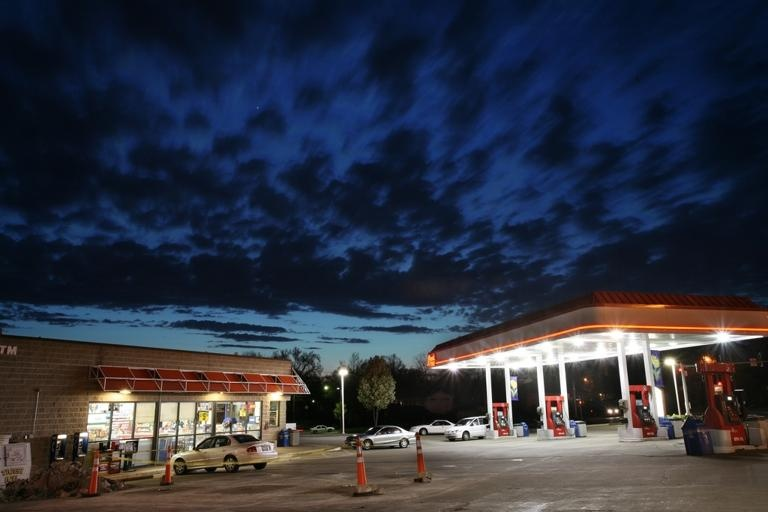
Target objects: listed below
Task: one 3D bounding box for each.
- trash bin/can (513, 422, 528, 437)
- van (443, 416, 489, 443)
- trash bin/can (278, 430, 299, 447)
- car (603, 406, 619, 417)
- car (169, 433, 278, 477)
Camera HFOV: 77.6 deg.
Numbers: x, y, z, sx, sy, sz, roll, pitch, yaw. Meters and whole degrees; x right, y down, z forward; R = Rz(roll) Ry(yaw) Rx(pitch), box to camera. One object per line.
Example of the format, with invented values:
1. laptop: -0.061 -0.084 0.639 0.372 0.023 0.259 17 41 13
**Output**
1. trash bin/can: 11.632 14.843 40.636 1.361 1.021 1.250 -3 -22 -5
2. van: 7.102 14.393 39.659 3.679 1.810 2.045 9 -25 -30
3. trash bin/can: -7.178 13.709 35.636 0.698 1.214 1.296 -4 -12 44
4. car: 32.295 22.010 67.438 1.297 1.499 6.760 -15 -24 24
5. car: -7.754 9.697 23.349 4.739 1.687 1.057 -9 -22 11
